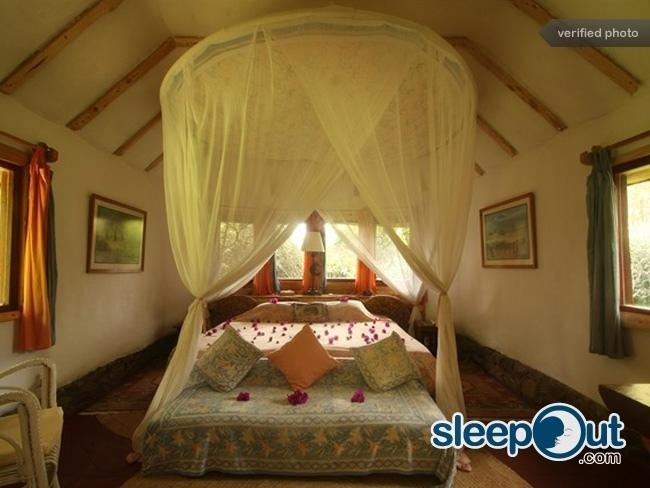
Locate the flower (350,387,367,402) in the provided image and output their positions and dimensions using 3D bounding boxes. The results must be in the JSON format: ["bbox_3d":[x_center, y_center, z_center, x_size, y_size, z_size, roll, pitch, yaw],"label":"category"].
[{"bbox_3d":[0.271,1.259,3.766,0.072,0.062,0.103,1,-1,-13],"label":"flower"}]

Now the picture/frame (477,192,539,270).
[{"bbox_3d":[2.099,-0.104,5.265,0.048,0.772,0.809,-1,-4,-21],"label":"picture/frame"}]

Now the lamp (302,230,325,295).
[{"bbox_3d":[-0.150,0.254,6.167,0.299,0.910,0.622,0,12,-2],"label":"lamp"}]
